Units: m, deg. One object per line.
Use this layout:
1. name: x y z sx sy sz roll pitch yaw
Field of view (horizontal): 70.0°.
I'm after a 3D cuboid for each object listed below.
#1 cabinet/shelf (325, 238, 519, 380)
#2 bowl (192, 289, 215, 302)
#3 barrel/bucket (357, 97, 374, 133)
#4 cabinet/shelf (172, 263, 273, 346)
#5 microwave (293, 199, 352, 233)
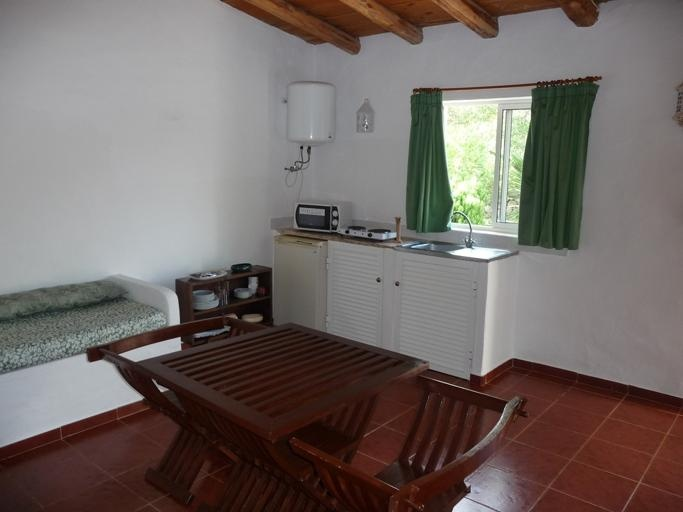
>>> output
1. cabinet/shelf: 0.784 0.431 4.918 1.757 1.047 0.833 7 11 38
2. bowl: -1.339 0.376 4.703 0.125 0.052 0.133 2 1 0
3. barrel/bucket: 0.242 -1.392 4.844 0.149 0.299 0.176 4 15 9
4. cabinet/shelf: -1.095 0.412 4.338 0.194 0.426 0.723 11 18 38
5. microwave: -0.227 -0.436 5.352 0.548 0.312 0.402 8 17 20
